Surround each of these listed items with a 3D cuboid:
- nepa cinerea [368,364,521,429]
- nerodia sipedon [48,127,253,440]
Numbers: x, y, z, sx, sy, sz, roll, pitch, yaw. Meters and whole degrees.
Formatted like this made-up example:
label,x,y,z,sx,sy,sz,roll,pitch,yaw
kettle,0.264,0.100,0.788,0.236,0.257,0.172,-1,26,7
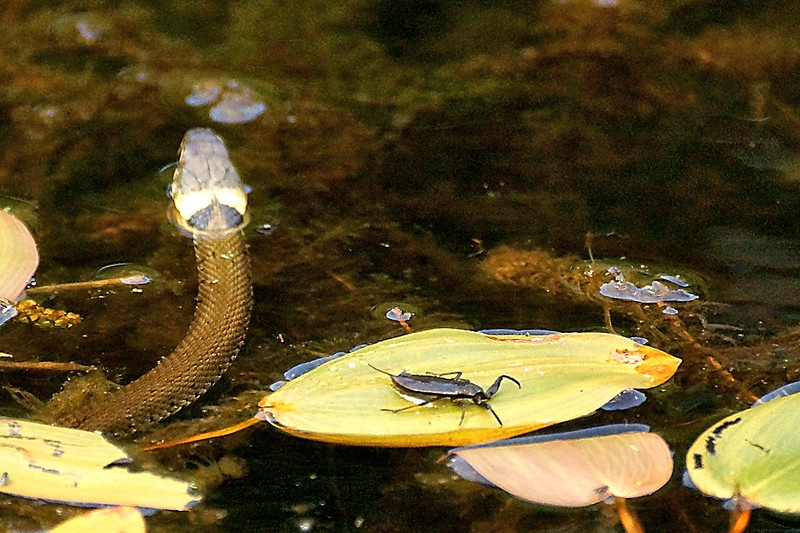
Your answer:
label,x,y,z,sx,sy,sz,roll,pitch,yaw
nepa cinerea,0.252,0.738,5.281,0.826,0.301,0.298,-4,44,14
nerodia sipedon,-1.386,0.107,5.808,0.955,1.774,0.965,1,13,2
